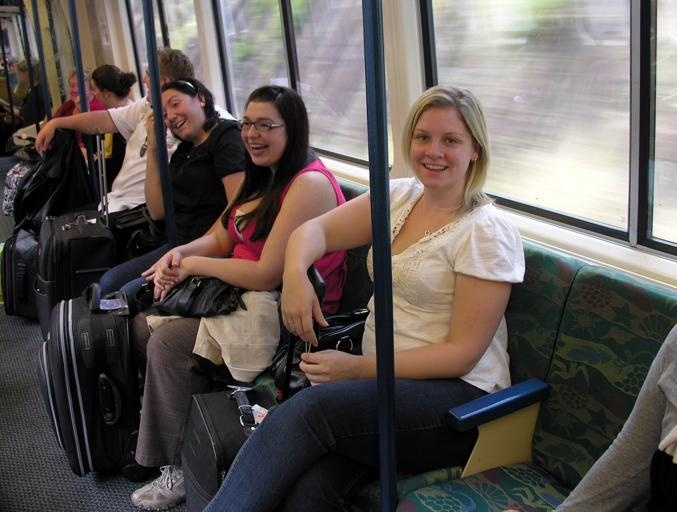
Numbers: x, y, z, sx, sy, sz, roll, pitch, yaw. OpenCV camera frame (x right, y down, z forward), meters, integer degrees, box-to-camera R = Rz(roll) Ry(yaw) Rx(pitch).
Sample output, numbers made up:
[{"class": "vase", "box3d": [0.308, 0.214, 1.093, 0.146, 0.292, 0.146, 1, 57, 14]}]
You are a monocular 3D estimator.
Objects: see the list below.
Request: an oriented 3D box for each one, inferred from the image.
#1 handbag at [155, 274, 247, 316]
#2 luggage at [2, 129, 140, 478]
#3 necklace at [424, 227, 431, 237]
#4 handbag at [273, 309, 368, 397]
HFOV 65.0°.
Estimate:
[{"class": "handbag", "box3d": [-0.646, 0.154, 2.384, 0.331, 0.138, 0.294, 2, 26, 15]}, {"class": "luggage", "box3d": [-1.531, 0.275, 3.019, 0.663, 1.609, 1.574, -3, 13, -23]}, {"class": "necklace", "box3d": [0.326, -0.090, 1.922, 0.027, 0.009, 0.020, -40, 52, 15]}, {"class": "handbag", "box3d": [-0.046, 0.363, 2.145, 0.225, 0.307, 0.452, 25, 19, 29]}]
